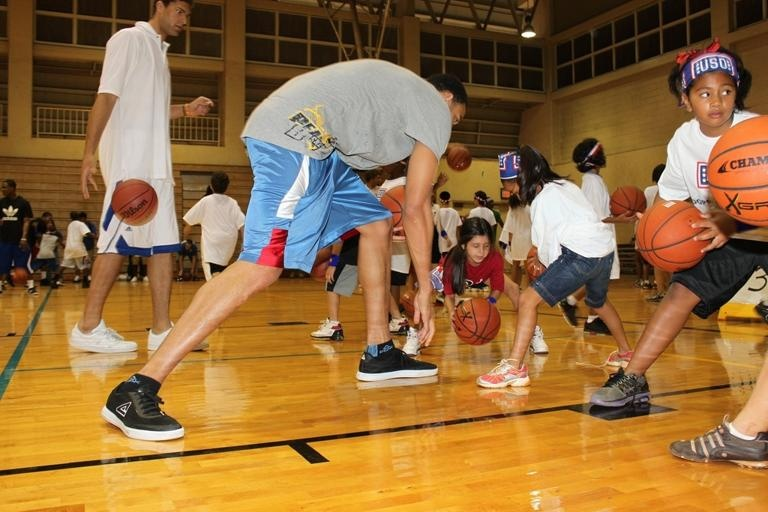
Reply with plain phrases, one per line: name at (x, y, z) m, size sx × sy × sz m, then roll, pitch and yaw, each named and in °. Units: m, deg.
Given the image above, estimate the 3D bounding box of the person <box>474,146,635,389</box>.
person at (1.004, 0.061, 4.114) m, size 1.311 × 1.890 × 1.121 m, roll 0°, pitch -4°, yaw 17°

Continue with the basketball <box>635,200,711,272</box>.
basketball at (1.331, -0.087, 2.681) m, size 0.331 × 0.325 × 0.316 m, roll 3°, pitch -2°, yaw 15°

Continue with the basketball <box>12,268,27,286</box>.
basketball at (-6.028, 0.348, 9.335) m, size 0.219 × 0.286 × 0.408 m, roll 0°, pitch 9°, yaw -35°

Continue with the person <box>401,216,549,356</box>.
person at (0.709, 0.199, 4.421) m, size 1.229 × 0.978 × 0.860 m, roll 1°, pitch 14°, yaw 2°

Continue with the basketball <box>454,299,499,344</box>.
basketball at (0.609, 0.427, 3.859) m, size 0.294 × 0.299 × 0.299 m, roll 5°, pitch 2°, yaw -27°
